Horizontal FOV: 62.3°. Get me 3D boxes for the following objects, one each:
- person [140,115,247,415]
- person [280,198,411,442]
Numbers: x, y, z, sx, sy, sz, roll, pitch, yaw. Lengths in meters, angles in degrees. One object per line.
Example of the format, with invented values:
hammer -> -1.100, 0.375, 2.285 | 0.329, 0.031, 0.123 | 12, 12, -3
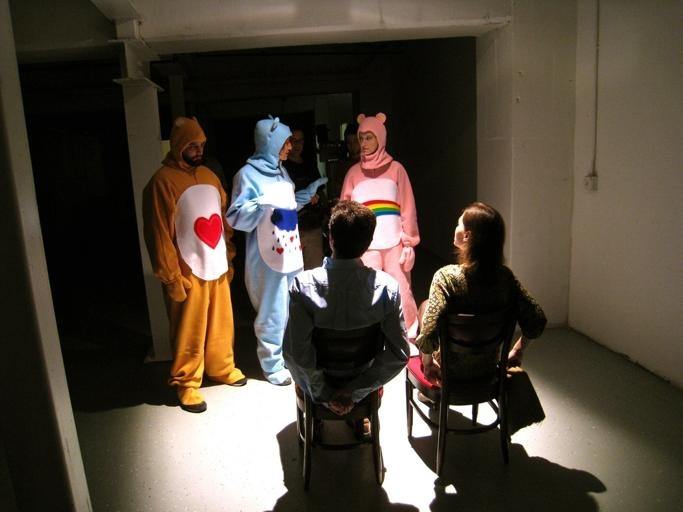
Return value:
person -> -0.985, 0.043, 3.843 | 0.630, 1.930, 0.473 | -7, 13, -27
person -> 0.023, 0.284, 2.983 | 0.657, 1.116, 0.244 | -3, 11, -10
